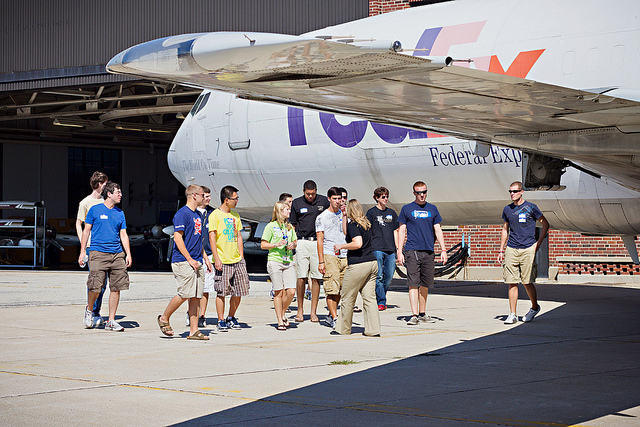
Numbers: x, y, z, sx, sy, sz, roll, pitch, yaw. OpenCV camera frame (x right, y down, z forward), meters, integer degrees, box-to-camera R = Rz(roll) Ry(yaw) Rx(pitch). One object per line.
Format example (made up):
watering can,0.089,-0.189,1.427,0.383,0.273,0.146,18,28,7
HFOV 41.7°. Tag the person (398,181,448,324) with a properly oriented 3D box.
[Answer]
person,1.766,0.646,14.595,0.799,2.420,0.905,-2,1,4

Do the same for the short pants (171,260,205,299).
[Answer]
short pants,-2.078,0.928,12.808,0.382,0.508,0.593,3,2,16

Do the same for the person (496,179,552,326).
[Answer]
person,3.529,0.658,14.522,0.763,2.420,0.723,-2,1,12

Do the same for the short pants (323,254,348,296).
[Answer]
short pants,0.251,0.986,13.841,0.322,0.673,0.550,-1,2,33

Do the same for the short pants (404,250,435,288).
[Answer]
short pants,1.708,0.932,14.362,0.489,0.647,0.290,-2,2,5

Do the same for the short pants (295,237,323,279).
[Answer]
short pants,-0.220,0.779,14.747,0.445,0.735,0.321,-2,1,-2

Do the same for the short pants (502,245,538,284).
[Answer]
short pants,3.456,0.851,14.475,0.832,0.757,0.433,0,-6,22

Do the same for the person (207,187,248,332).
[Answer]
person,-1.496,0.739,13.520,0.586,2.339,0.717,-3,1,-7

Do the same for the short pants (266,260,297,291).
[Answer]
short pants,-0.634,1.006,14.025,0.469,0.502,0.361,-2,2,-11

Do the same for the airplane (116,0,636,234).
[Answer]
airplane,1.485,-1.556,13.796,6.913,2.174,7.030,1,-3,-43
